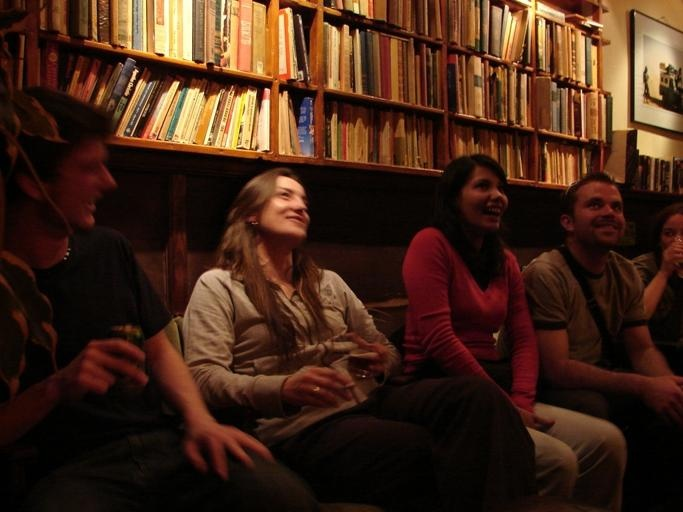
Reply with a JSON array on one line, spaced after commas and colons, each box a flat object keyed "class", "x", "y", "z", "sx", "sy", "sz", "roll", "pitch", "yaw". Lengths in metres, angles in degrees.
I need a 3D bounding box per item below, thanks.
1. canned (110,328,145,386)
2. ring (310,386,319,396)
[{"class": "canned", "x": -0.514, "y": 0.241, "z": 1.315, "sx": 0.077, "sy": 0.154, "sz": 0.091, "roll": 4, "pitch": 4, "yaw": -23}, {"class": "ring", "x": -0.077, "y": 0.390, "z": 1.578, "sx": 0.020, "sy": 0.013, "sz": 0.015, "roll": -1, "pitch": 8, "yaw": -8}]
